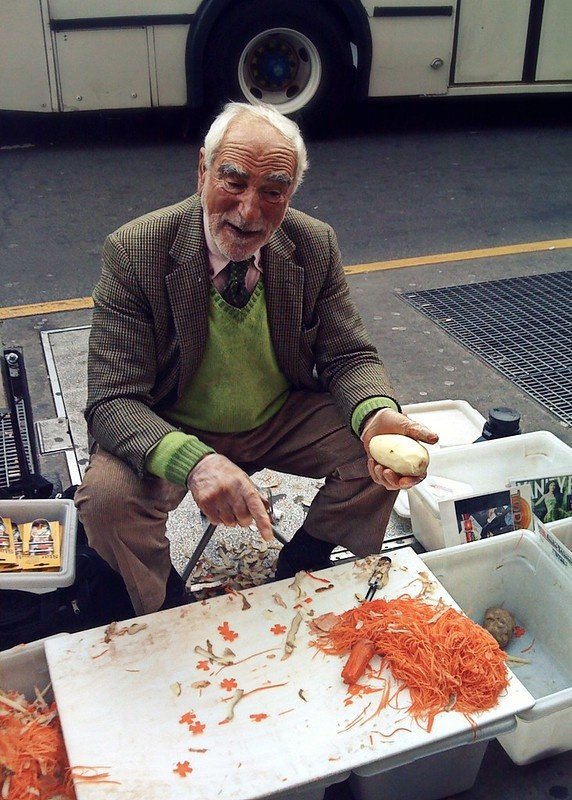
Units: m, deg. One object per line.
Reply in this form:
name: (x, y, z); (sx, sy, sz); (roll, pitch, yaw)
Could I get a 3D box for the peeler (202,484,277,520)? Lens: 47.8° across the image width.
peeler: (-0.179, 0.384, 2.491); (0.286, 0.068, 0.209); (-1, -7, -19)

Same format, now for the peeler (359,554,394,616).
peeler: (0.237, 0.472, 1.664); (0.036, 0.039, 0.207); (-4, 23, 27)

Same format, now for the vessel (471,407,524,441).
vessel: (0.845, 0.107, 2.588); (0.145, 0.131, 0.128); (19, 39, 30)

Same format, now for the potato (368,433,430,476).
potato: (0.285, 0.138, 1.654); (0.092, 0.083, 0.185); (-10, 21, -24)

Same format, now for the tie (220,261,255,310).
tie: (-0.137, -0.312, 1.780); (0.084, 0.126, 0.035); (-1, 5, -10)

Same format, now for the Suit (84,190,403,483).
Suit: (-0.117, -0.200, 1.836); (0.948, 0.623, 0.853); (-10, 40, -23)

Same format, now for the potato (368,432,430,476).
potato: (0.286, 0.143, 1.617); (0.139, 0.079, 0.052); (17, 15, 41)

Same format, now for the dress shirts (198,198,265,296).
dress shirts: (-0.150, -0.411, 1.747); (0.167, 0.215, 0.139); (1, 14, 1)
